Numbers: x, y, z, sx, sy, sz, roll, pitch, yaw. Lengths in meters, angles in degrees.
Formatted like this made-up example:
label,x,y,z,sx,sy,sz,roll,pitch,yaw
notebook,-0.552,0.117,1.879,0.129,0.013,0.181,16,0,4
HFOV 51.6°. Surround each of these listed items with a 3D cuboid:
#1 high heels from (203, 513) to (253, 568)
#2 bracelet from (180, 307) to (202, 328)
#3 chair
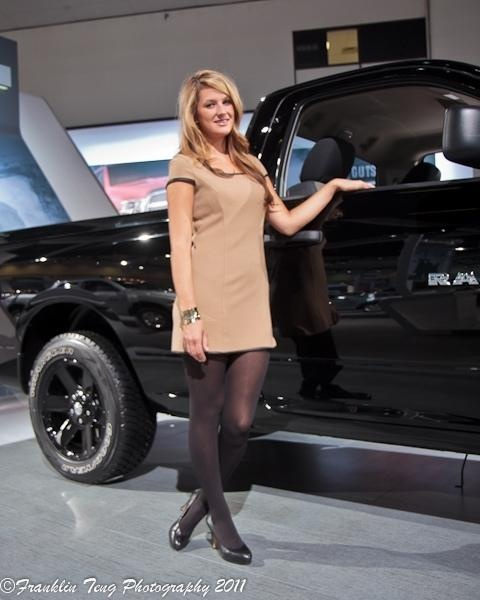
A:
label,x,y,z,sx,sy,sz,roll,pitch,yaw
high heels,-0.049,0.677,1.415,0.073,0.078,0.206,7,-2,-39
bracelet,-0.124,0.043,1.204,0.048,0.040,0.014,-13,-22,24
chair,0.449,-0.420,1.838,0.559,0.177,0.314,-6,8,-41
